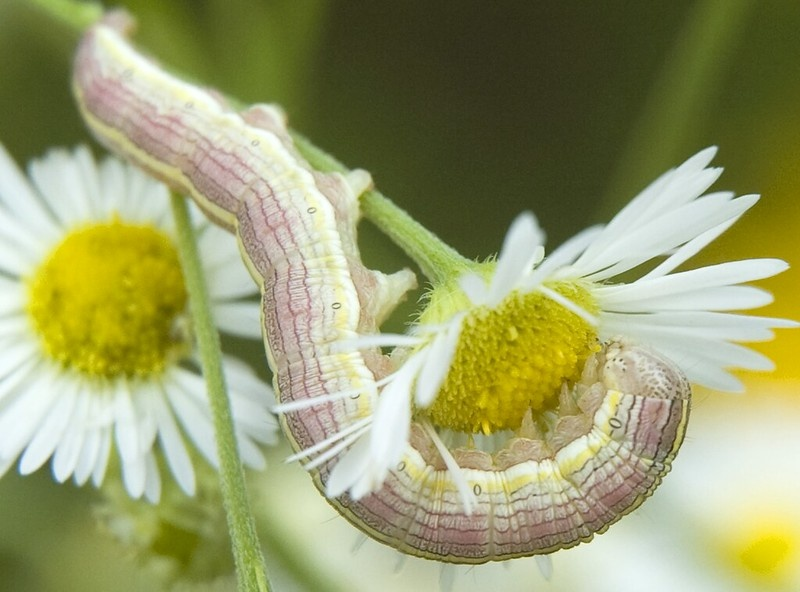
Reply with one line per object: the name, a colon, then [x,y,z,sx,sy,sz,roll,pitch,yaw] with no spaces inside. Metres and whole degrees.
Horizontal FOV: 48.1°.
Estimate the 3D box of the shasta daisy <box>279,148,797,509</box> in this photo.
shasta daisy: [0.175,-0.006,0.956,0.458,0.113,0.446,-7,-23,-39]
